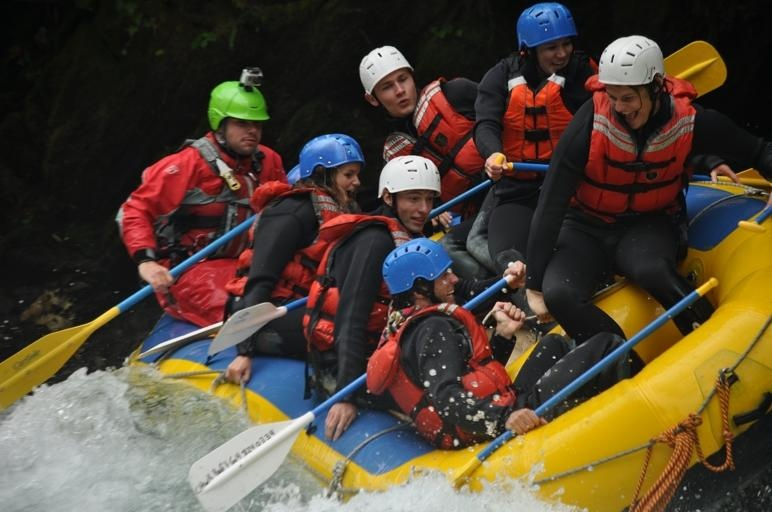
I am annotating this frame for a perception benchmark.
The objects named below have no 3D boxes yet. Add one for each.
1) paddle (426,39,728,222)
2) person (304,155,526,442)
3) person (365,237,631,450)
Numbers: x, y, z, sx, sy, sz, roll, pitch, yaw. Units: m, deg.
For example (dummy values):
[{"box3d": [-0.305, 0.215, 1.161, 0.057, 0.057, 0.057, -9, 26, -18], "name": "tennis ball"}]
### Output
[{"box3d": [1.213, -0.773, 4.603, 2.397, 0.518, 0.102, -34, 14, 3], "name": "paddle"}, {"box3d": [0.142, 0.306, 4.705, 1.287, 1.912, 0.751, 4, 8, 0], "name": "person"}, {"box3d": [0.666, 0.481, 4.194, 1.583, 1.238, 1.053, -7, 0, 3], "name": "person"}]
